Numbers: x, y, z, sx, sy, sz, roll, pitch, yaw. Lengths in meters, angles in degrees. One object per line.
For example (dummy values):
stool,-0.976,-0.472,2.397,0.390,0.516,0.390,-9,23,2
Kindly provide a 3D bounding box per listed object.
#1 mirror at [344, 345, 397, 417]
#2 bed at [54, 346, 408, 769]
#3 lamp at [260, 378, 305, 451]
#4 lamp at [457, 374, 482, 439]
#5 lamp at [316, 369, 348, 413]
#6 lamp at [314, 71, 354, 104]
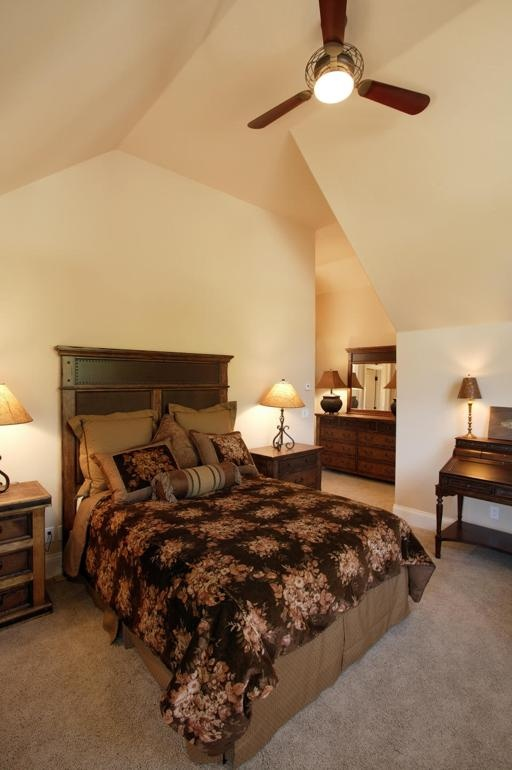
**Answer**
mirror,1.336,-0.043,6.166,0.127,0.767,0.783,4,-4,-32
bed,-0.200,0.563,3.008,1.487,1.653,1.816,-6,6,-43
lamp,0.212,0.253,4.419,0.353,0.579,0.364,-4,7,-43
lamp,1.560,0.154,3.935,0.161,0.436,0.218,4,10,21
lamp,0.913,0.068,6.501,0.431,0.663,0.467,-1,1,-21
lamp,0.313,-1.220,2.196,0.130,0.075,0.158,-8,13,-41
